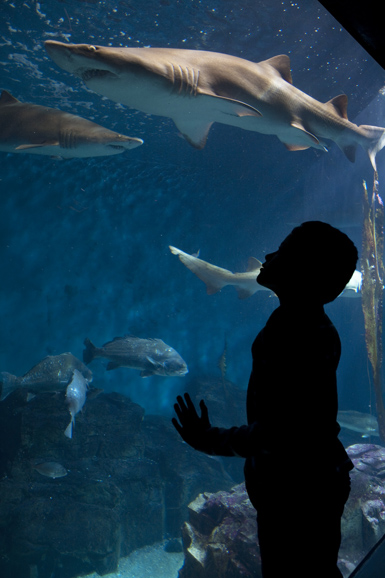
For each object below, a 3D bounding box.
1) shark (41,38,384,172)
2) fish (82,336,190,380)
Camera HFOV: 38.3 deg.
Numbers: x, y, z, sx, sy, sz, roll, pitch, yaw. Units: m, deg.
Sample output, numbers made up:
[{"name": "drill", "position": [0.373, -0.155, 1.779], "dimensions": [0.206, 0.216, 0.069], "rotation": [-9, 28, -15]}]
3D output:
[{"name": "shark", "position": [0.150, -1.771, 4.784], "dimensions": [2.867, 1.248, 1.502], "rotation": [1, 8, -12]}, {"name": "fish", "position": [-0.683, 0.865, 7.105], "dimensions": [1.674, 0.603, 0.445], "rotation": [12, -2, -17]}]
